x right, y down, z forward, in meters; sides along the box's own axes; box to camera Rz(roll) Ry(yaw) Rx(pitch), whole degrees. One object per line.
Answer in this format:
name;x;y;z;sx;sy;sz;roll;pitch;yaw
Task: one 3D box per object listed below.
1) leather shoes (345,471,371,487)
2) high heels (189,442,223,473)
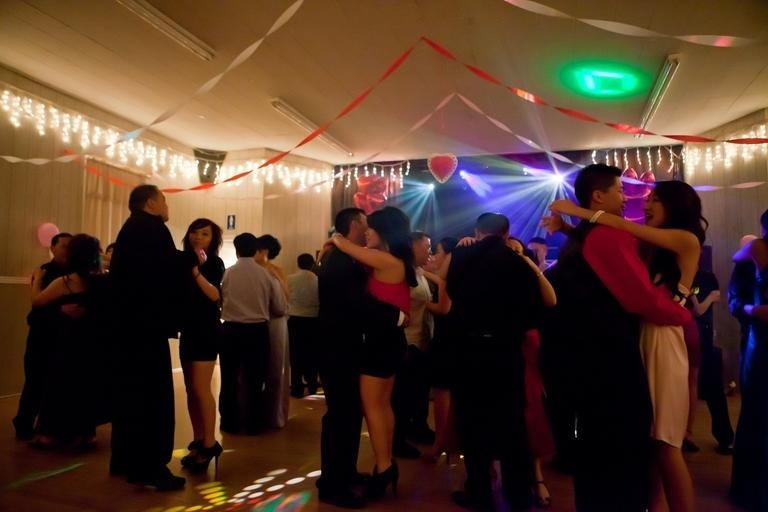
leather shoes;-0.214;1.962;4.860;0.188;0.056;0.167;16;5;9
high heels;-1.658;1.858;5.024;0.325;0.208;0.177;19;-21;-35
